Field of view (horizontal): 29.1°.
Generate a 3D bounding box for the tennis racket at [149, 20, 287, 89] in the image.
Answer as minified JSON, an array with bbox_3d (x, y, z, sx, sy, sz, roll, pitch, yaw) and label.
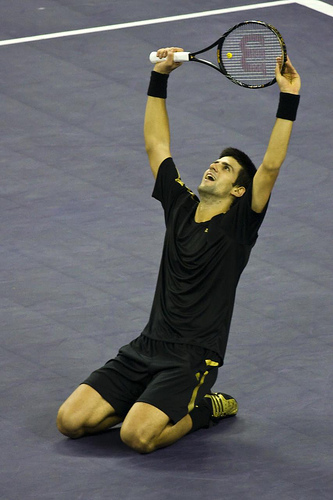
[{"bbox_3d":[0.272,-1.071,3.545,0.798,0.334,0.081,8,31,26],"label":"tennis racket"}]
